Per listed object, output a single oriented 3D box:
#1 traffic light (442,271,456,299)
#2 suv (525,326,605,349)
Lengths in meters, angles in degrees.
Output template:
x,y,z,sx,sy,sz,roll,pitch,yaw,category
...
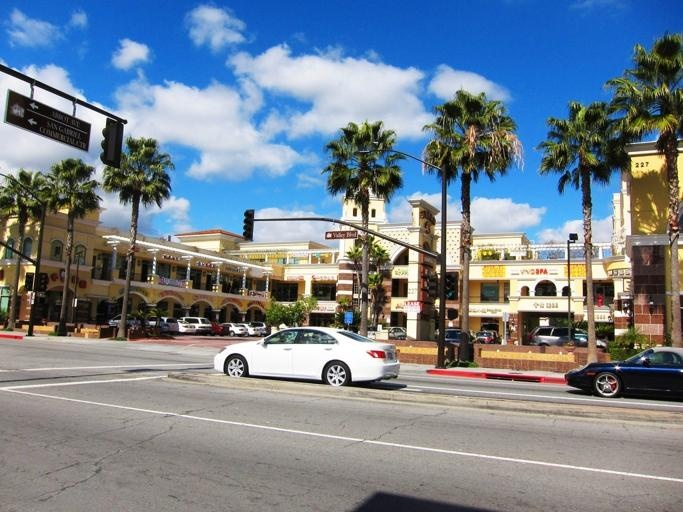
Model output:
x,y,z,sx,sy,sz,roll,pitch,yaw,category
5.170,1.382,27.079,0.527,1.344,2.528,-1,-10,9,traffic light
14.027,5.151,36.545,4.046,1.481,3.887,8,-12,-35,suv
